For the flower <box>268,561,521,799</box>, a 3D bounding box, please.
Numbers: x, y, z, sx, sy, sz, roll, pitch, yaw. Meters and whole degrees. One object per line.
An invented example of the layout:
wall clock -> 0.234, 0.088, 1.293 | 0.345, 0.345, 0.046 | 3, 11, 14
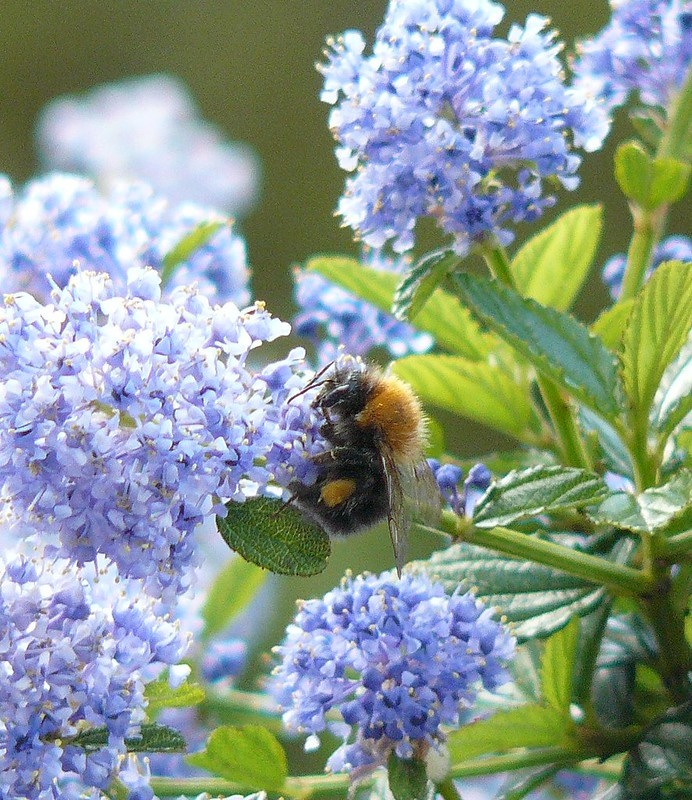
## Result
flower -> 0.075, 0.435, 2.236 | 0.308, 0.287, 0.218 | -29, -29, -7

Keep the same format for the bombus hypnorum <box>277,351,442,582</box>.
bombus hypnorum -> 0.001, 0.079, 2.389 | 0.107, 0.330, 0.239 | -29, -35, 26
